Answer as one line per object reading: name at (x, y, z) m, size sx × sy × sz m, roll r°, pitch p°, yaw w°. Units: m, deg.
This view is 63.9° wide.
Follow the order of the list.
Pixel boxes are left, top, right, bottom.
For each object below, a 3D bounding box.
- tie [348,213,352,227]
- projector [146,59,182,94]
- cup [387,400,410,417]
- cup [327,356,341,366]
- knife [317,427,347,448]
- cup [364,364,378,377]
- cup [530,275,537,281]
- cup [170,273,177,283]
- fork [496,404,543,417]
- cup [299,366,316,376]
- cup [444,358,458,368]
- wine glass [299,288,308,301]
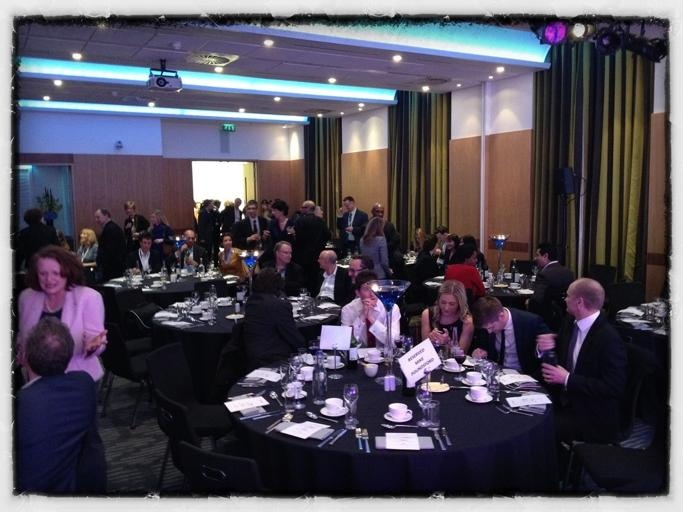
tie at (0.158, -0.602, 9.029) m, size 0.036 × 0.170 × 0.045 m, roll 3°, pitch -3°, yaw -10°
projector at (-2.604, -2.647, 8.052) m, size 0.439 × 0.400 × 0.594 m, roll -5°, pitch 15°, yaw -22°
cup at (0.344, 0.875, 3.141) m, size 0.087 × 0.044 × 0.072 m, roll 2°, pitch -3°, yaw -5°
cup at (-0.046, 0.727, 3.882) m, size 0.077 × 0.039 × 0.073 m, roll 2°, pitch 2°, yaw 0°
knife at (-0.035, 0.962, 2.949) m, size 0.050 × 0.009 × 0.193 m, roll 0°, pitch 8°, yaw 21°
cup at (0.212, 0.765, 3.686) m, size 0.076 × 0.061 × 0.076 m, roll 1°, pitch -3°, yaw 0°
cup at (2.274, 0.256, 6.455) m, size 0.047 × 0.060 × 0.060 m, roll -8°, pitch 10°, yaw -30°
cup at (-2.087, 0.264, 6.882) m, size 0.090 × 0.098 × 0.091 m, roll 2°, pitch -3°, yaw 0°
fork at (1.058, 0.900, 3.192) m, size 0.182 × 0.027 × 0.096 m, roll -1°, pitch 6°, yaw -8°
cup at (-0.223, 0.773, 3.678) m, size 0.064 × 0.045 × 0.061 m, roll -3°, pitch 6°, yaw 0°
cup at (0.772, 0.741, 3.830) m, size 0.069 × 0.049 × 0.054 m, roll -2°, pitch 4°, yaw 5°
wine glass at (-0.380, 0.396, 5.644) m, size 0.114 × 0.119 × 0.072 m, roll 4°, pitch -8°, yaw -13°
